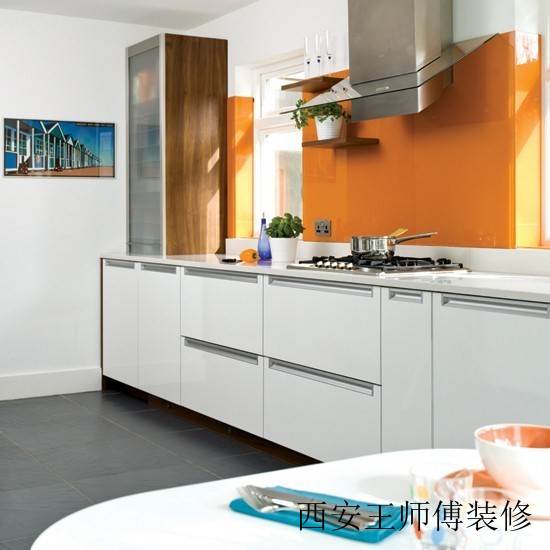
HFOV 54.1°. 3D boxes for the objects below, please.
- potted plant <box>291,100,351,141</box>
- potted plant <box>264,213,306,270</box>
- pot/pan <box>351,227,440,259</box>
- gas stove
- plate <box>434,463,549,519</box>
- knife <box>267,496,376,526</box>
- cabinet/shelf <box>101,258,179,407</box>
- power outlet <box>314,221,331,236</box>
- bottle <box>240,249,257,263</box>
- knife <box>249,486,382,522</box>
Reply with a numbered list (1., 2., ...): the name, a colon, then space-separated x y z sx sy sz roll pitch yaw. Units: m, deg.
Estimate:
1. potted plant: 0.293 -0.956 3.542 0.349 0.234 0.340 0 6 8
2. potted plant: 0.068 -0.234 3.549 0.236 0.305 0.264 -13 -8 19
3. pot/pan: 0.604 -0.154 2.816 0.361 0.118 0.206 1 0 15
4. gas stove: 0.530 -0.052 2.728 0.835 0.076 0.564 -1 2 -12
5. plate: 0.225 0.216 0.552 0.093 0.022 0.093 2 -11 41
6. knife: 0.046 0.244 0.552 0.078 0.011 0.014 5 0 37
7. cabinet/shelf: -1.030 0.448 4.193 0.405 1.023 1.158 2 -2 -42
8. power outlet: 0.331 -0.316 3.725 0.025 0.098 0.149 -1 1 -32
9. bottle: -0.175 -0.125 3.632 0.077 0.079 0.103 7 -7 -44
10. knife: 0.041 0.247 0.576 0.097 0.014 0.022 5 -5 28
